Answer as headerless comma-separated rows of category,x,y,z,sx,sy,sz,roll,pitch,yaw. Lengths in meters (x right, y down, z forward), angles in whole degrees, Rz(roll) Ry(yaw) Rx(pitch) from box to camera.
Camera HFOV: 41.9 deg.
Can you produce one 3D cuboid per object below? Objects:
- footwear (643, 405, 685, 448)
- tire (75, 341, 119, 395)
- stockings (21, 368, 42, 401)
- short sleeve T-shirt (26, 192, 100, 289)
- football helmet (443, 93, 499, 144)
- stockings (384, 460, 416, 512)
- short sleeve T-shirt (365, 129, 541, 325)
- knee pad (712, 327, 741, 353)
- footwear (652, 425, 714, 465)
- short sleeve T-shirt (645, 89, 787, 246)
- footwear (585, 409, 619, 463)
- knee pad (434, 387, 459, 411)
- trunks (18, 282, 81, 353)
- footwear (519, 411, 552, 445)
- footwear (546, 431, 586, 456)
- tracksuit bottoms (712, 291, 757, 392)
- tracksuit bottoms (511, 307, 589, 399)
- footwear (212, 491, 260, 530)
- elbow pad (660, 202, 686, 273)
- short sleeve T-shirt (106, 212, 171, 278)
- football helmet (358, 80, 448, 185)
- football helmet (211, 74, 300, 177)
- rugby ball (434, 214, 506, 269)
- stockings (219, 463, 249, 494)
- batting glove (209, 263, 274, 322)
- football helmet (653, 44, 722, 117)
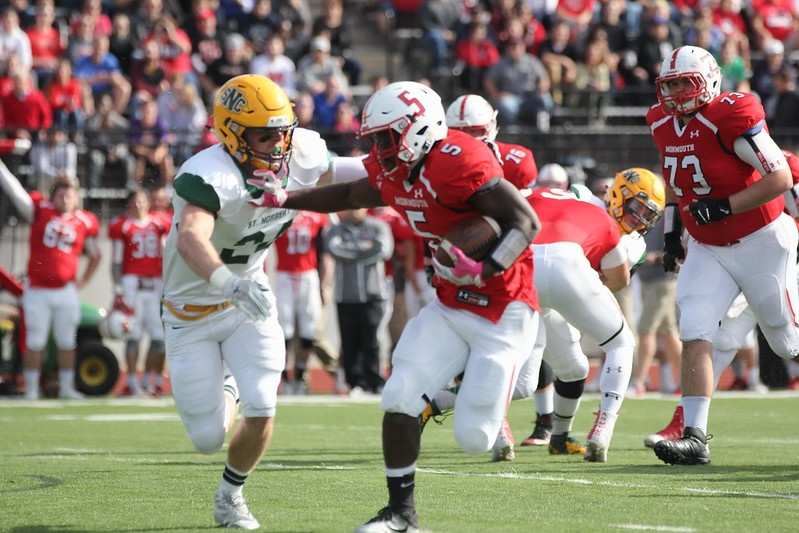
footwear,2.096,1.283,8.143,0.461,0.327,0.163,11,-16,-28
tire,-3.492,1.178,12.044,0.444,0.484,0.176,-28,3,-2
stockings,-3.990,1.277,11.390,0.155,0.334,0.214,0,-1,-29
short sleeve T-shirt,-3.762,-0.281,11.637,0.851,1.064,0.540,15,2,-28
football helmet,0.581,-1.182,8.556,0.400,0.473,0.517,-5,14,-4
stockings,-0.007,1.369,6.270,0.222,0.365,0.204,-1,-1,16
short sleeve T-shirt,0.335,-0.235,6.366,0.986,1.169,0.425,-19,10,44
knee pad,2.601,0.598,8.310,0.203,0.136,0.161,31,-20,-4
footwear,2.131,1.339,7.808,0.519,0.318,0.178,14,-19,-31
short sleeve T-shirt,2.401,-0.804,8.097,0.639,1.162,1.091,-24,21,-25
footwear,1.503,1.272,7.850,0.252,0.389,0.264,0,-1,-14
knee pad,0.353,0.985,7.670,0.153,0.229,0.098,20,-7,-12
trunks,-3.842,0.521,11.674,0.770,1.170,0.592,2,-7,-27
footwear,1.102,1.355,8.607,0.368,0.292,0.139,-4,-2,12
footwear,1.315,1.422,8.323,0.338,0.205,0.123,0,-2,8
tracksuit bottoms,2.674,0.577,8.355,0.251,0.700,0.479,1,-5,-37
tracksuit bottoms,1.164,0.669,8.014,0.466,0.793,0.401,7,-3,36
footwear,-0.989,1.490,6.350,0.135,0.186,0.377,1,-5,-37
elbow pad,2.169,-0.318,8.233,0.187,0.655,0.143,-7,27,-2
short sleeve T-shirt,-2.891,-0.250,11.743,0.650,0.722,0.365,-3,0,-6
football helmet,0.012,-0.840,6.540,0.537,0.586,0.493,-1,-3,-4
football helmet,-0.922,-0.944,6.778,0.606,0.640,0.475,27,33,37
rugby ball,0.480,-0.165,6.375,0.450,0.191,0.289,-31,19,-1
stockings,-1.018,1.304,6.481,0.162,0.148,0.143,32,-8,-31
batting glove,-0.934,0.155,6.264,0.373,0.267,0.141,34,-24,-1
football helmet,2.221,-1.471,7.959,0.434,0.471,0.587,0,17,38
